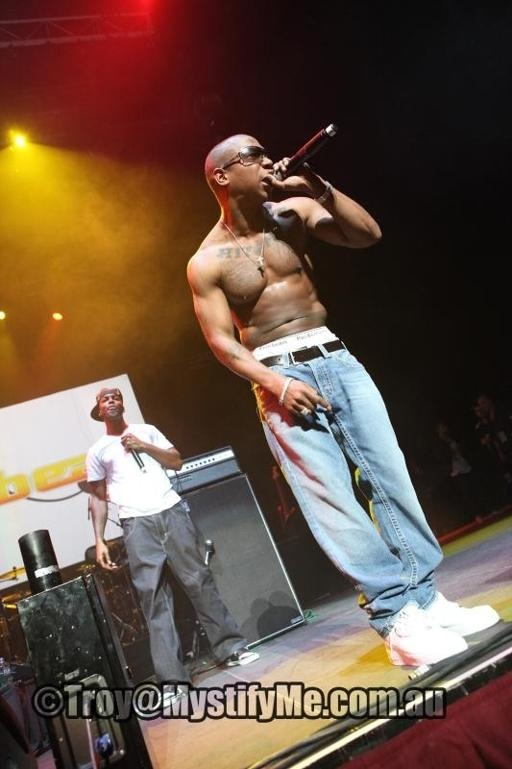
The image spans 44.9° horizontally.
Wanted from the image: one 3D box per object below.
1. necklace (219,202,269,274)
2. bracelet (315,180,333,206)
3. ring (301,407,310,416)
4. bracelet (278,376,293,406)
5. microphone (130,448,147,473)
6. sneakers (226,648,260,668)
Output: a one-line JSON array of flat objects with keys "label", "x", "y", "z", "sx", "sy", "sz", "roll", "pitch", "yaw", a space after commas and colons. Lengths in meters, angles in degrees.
[{"label": "necklace", "x": -0.030, "y": -0.531, "z": 2.197, "sx": 0.081, "sy": 0.285, "sz": 0.076, "roll": -8, "pitch": -40, "yaw": -27}, {"label": "bracelet", "x": 0.242, "y": -0.660, "z": 2.150, "sx": 0.024, "sy": 0.066, "sz": 0.068, "roll": 4, "pitch": 37, "yaw": -12}, {"label": "ring", "x": 0.154, "y": 0.084, "z": 1.943, "sx": 0.010, "sy": 0.025, "sz": 0.025, "roll": -33, "pitch": -22, "yaw": -54}, {"label": "bracelet", "x": 0.091, "y": 0.017, "z": 1.932, "sx": 0.019, "sy": 0.064, "sz": 0.066, "roll": 22, "pitch": -14, "yaw": 14}, {"label": "microphone", "x": -0.606, "y": 0.399, "z": 3.240, "sx": 0.037, "sy": 0.034, "sz": 0.234, "roll": -19, "pitch": 38, "yaw": -5}, {"label": "sneakers", "x": -0.058, "y": 1.229, "z": 2.796, "sx": 0.082, "sy": 0.053, "sz": 0.151, "roll": -10, "pitch": -15, "yaw": -33}]
